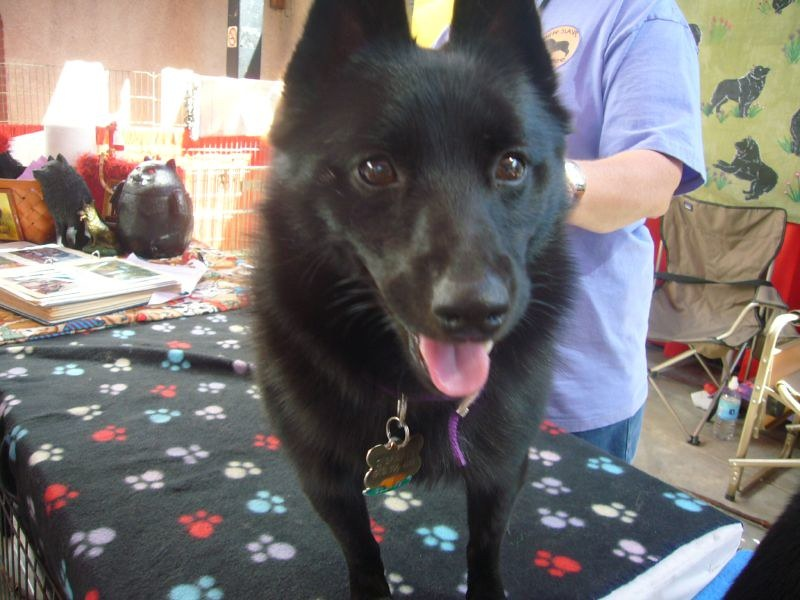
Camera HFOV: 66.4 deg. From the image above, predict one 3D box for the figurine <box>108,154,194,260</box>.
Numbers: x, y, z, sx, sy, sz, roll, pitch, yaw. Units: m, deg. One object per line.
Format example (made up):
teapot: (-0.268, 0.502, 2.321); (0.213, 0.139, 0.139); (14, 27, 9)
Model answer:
figurine: (-0.938, -0.352, 2.343); (0.323, 0.389, 0.271); (7, 9, 14)

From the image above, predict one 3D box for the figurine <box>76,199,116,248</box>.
figurine: (-1.159, -0.286, 2.308); (0.130, 0.187, 0.074); (22, 51, 3)

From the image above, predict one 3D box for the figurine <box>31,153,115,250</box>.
figurine: (-1.225, -0.348, 2.254); (0.267, 0.365, 0.150); (7, 16, 11)

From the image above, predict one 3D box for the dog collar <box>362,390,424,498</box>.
dog collar: (-0.007, 0.216, 0.923); (0.100, 0.160, 0.038); (-6, 20, -32)
